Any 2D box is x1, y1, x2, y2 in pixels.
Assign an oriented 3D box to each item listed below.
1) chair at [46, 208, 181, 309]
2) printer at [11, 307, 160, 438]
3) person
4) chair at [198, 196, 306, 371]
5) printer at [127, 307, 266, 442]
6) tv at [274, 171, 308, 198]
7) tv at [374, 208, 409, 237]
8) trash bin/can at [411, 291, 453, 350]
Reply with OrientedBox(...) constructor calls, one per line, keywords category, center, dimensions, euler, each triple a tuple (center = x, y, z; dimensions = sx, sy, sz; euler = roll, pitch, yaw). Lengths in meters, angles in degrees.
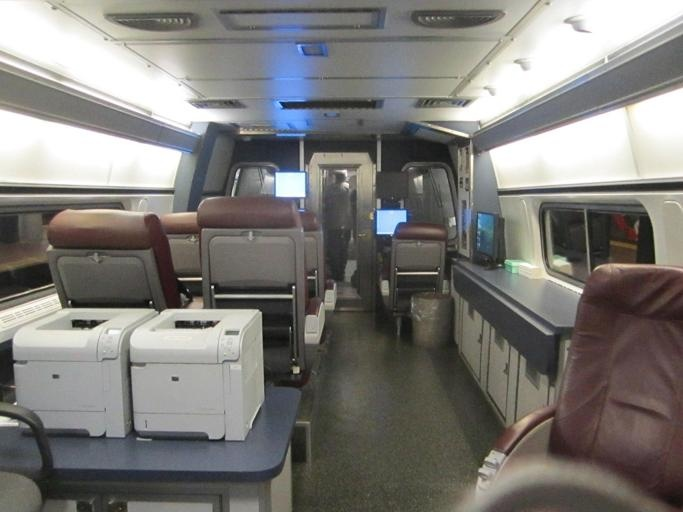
OrientedBox(category="chair", center=(-1.496, -0.017, 3.646), dimensions=(0.587, 0.703, 0.831), euler=(0, 9, 0))
OrientedBox(category="printer", center=(-1.417, 0.633, 3.002), dimensions=(0.675, 0.562, 0.690), euler=(0, 1, 5))
OrientedBox(category="person", center=(-0.027, -0.447, 8.121), dimensions=(0.509, 1.733, 0.181), euler=(-1, 12, 0))
OrientedBox(category="chair", center=(-0.826, 0.070, 4.210), dimensions=(0.701, 1.296, 1.191), euler=(0, 0, 2))
OrientedBox(category="printer", center=(-0.790, 0.636, 2.944), dimensions=(0.638, 0.573, 0.672), euler=(0, -2, 4))
OrientedBox(category="tv", center=(-0.757, -1.060, 7.757), dimensions=(0.631, 0.587, 0.148), euler=(1, 3, 1))
OrientedBox(category="tv", center=(0.713, -0.480, 7.636), dimensions=(0.412, 0.407, 0.311), euler=(-1, 0, 4))
OrientedBox(category="trash bin/can", center=(0.996, 0.797, 6.442), dimensions=(0.601, 0.667, 0.598), euler=(-1, 5, -8))
